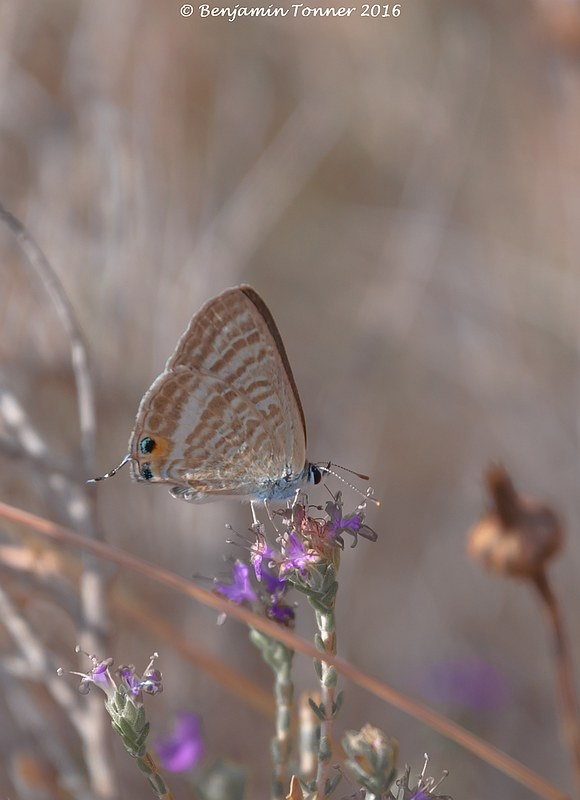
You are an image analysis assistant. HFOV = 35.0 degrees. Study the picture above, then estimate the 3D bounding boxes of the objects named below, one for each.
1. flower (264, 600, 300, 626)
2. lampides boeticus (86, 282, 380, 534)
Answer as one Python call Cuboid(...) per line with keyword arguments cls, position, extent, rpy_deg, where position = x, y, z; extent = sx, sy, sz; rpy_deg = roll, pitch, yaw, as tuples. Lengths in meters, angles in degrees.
Cuboid(cls="flower", position=(-0.009, 0.191, 0.822), extent=(0.026, 0.024, 0.023), rpy_deg=(-1, 39, -2))
Cuboid(cls="lampides boeticus", position=(-0.045, 0.028, 0.891), extent=(0.259, 0.224, 0.171), rpy_deg=(-2, 60, -6))
